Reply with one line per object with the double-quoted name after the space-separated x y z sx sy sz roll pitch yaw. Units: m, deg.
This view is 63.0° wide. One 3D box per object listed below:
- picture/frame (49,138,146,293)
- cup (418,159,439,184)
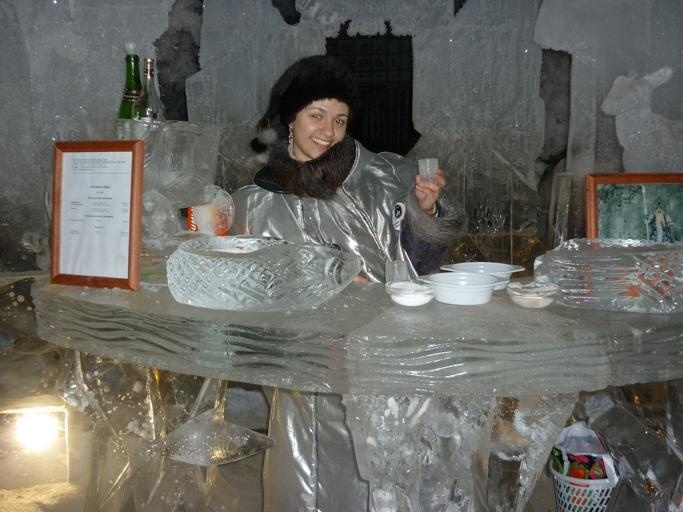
-0.525 -0.082 1.197 0.288 0.446 0.044 0 0 12 "picture/frame"
0.197 -0.195 1.262 0.040 0.046 0.065 1 4 6 "cup"
